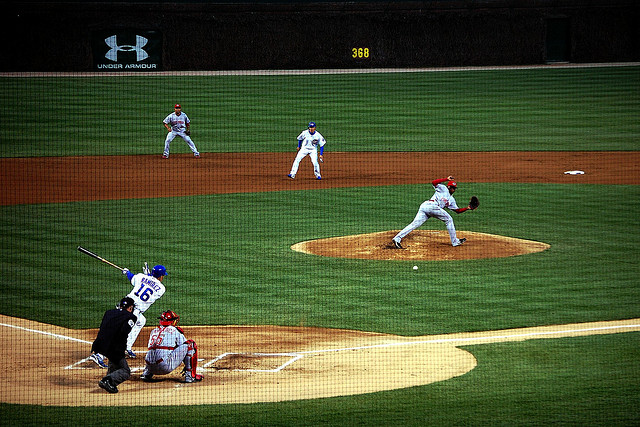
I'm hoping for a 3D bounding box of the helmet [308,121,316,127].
[{"bbox_3d":[-0.244,-3.097,32.100,0.265,0.169,0.393,1,-10,6],"label":"helmet"}]

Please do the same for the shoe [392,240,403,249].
[{"bbox_3d":[2.380,0.973,27.294,0.169,0.357,0.127,-36,9,-7],"label":"shoe"}]

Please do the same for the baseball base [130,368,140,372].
[{"bbox_3d":[-4.268,3.629,21.001,0.204,0.087,0.227,0,0,-14],"label":"baseball base"}]

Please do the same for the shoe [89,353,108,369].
[{"bbox_3d":[-5.068,3.399,20.869,0.361,0.404,0.503,0,1,-15],"label":"shoe"}]

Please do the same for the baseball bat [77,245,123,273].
[{"bbox_3d":[-6.375,1.393,26.424,1.947,0.176,0.198,21,26,6],"label":"baseball bat"}]

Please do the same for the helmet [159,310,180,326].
[{"bbox_3d":[-3.395,2.401,20.606,0.368,0.320,0.637,1,0,-3],"label":"helmet"}]

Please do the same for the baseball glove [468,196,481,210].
[{"bbox_3d":[4.584,-0.239,26.622,0.355,0.462,0.270,17,2,-2],"label":"baseball glove"}]

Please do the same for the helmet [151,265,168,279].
[{"bbox_3d":[-3.818,1.408,21.552,0.322,0.268,0.294,1,1,-9],"label":"helmet"}]

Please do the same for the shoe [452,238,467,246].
[{"bbox_3d":[4.310,0.895,27.605,0.549,0.138,0.208,-20,-23,23],"label":"shoe"}]

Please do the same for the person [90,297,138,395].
[{"bbox_3d":[-4.535,2.967,20.179,0.910,2.166,0.761,1,1,-8],"label":"person"}]
